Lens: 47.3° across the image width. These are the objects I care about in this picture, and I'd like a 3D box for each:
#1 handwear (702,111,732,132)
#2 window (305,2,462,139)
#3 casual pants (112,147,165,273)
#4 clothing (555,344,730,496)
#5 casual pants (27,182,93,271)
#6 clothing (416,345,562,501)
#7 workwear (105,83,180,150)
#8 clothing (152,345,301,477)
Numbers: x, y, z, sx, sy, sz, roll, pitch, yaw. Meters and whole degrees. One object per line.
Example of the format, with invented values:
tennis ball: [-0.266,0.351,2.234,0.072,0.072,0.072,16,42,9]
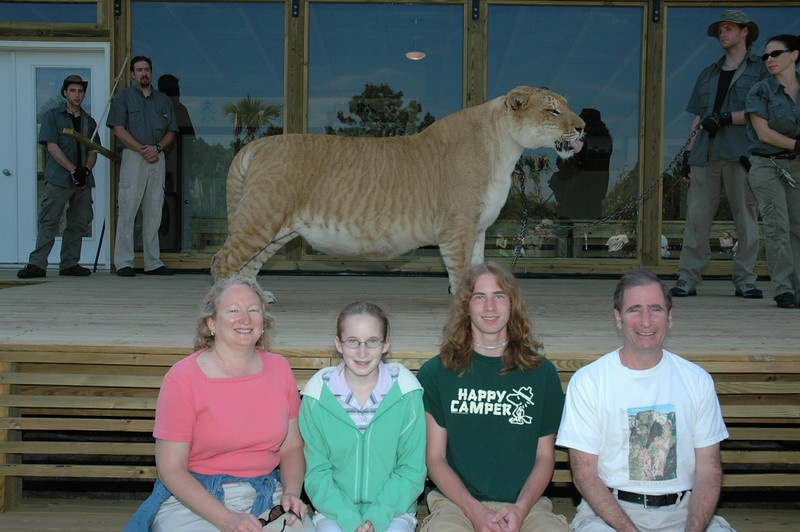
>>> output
handwear: [2.994,-1.371,8.546,0.226,0.176,0.108,-7,41,5]
window: [-0.200,-2.295,10.274,1.877,1.941,0.078,0,11,0]
casual pants: [-2.823,-0.681,10.055,0.481,1.619,0.387,6,-32,-20]
clothing: [1.681,1.068,6.235,1.140,0.886,0.425,-1,3,2]
casual pants: [-3.646,-0.540,9.821,0.657,1.381,0.412,1,27,-30]
clothing: [0.611,1.133,6.503,1.145,1.082,0.601,5,16,-8]
workwear: [-2.814,-1.663,10.002,0.807,0.658,0.363,-4,5,-36]
clothing: [-1.163,1.024,6.424,1.107,0.813,0.626,-4,6,-32]
